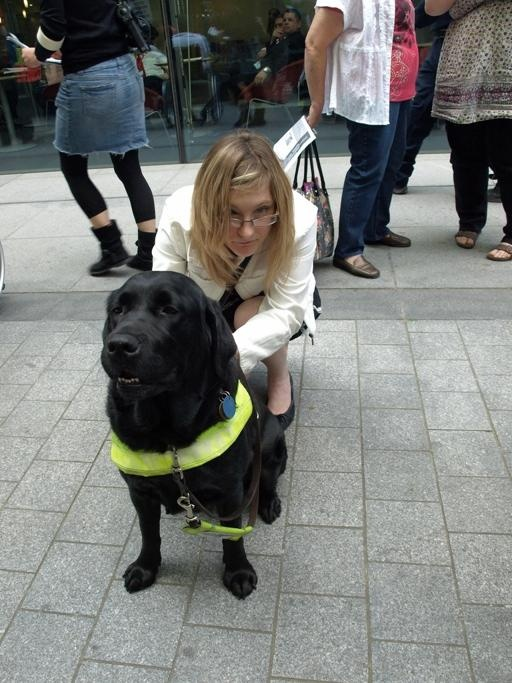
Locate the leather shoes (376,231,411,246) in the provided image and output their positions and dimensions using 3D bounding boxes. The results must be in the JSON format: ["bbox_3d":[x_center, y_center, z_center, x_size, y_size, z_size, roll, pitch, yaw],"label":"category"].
[{"bbox_3d":[1.081,-0.792,4.460,0.322,0.116,0.114,2,28,16],"label":"leather shoes"}]

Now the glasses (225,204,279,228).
[{"bbox_3d":[-0.003,-0.436,1.967,0.183,0.092,0.050,-19,33,-26],"label":"glasses"}]

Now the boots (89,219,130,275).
[{"bbox_3d":[-1.101,-0.677,4.045,0.332,0.330,0.178,-26,40,-27],"label":"boots"}]

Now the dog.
[{"bbox_3d":[-0.190,0.236,1.809,0.501,0.969,0.997,3,17,12],"label":"dog"}]

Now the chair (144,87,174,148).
[{"bbox_3d":[-1.289,-2.963,7.299,0.438,0.552,0.415,-11,23,-26],"label":"chair"}]

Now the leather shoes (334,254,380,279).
[{"bbox_3d":[0.703,-0.531,4.027,0.354,0.142,0.132,26,61,28],"label":"leather shoes"}]

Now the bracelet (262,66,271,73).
[{"bbox_3d":[0.135,-3.302,6.921,0.070,0.048,0.076,-14,16,-25],"label":"bracelet"}]

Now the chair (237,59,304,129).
[{"bbox_3d":[0.191,-3.112,7.205,0.737,0.756,0.708,2,56,2],"label":"chair"}]

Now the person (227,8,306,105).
[{"bbox_3d":[0.192,-3.445,6.899,0.776,1.005,0.176,4,31,13],"label":"person"}]

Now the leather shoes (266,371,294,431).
[{"bbox_3d":[0.113,0.300,2.525,0.075,0.190,0.077,-2,-8,13],"label":"leather shoes"}]
